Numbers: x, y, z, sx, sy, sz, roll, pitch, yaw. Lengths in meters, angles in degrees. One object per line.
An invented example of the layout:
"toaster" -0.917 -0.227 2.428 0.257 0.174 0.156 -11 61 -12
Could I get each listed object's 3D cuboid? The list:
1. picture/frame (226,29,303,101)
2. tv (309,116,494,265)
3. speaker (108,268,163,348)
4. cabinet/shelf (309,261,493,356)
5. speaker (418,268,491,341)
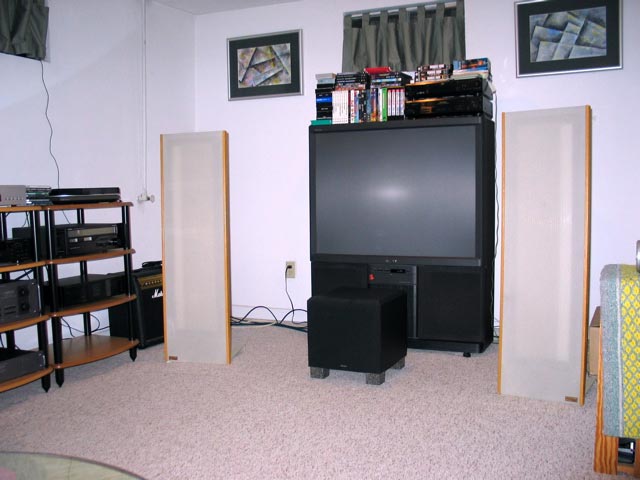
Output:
"picture/frame" -0.502 -1.671 4.892 0.655 0.523 0.032 1 2 18
"tv" 0.691 -0.411 4.322 1.437 1.161 0.838 2 8 27
"speaker" -1.388 0.502 4.132 0.339 0.598 0.431 8 10 36
"cabinet/shelf" 0.633 0.467 4.209 1.333 0.728 0.430 0 13 20
"speaker" 1.013 0.352 4.069 0.627 0.817 0.494 1 3 22
